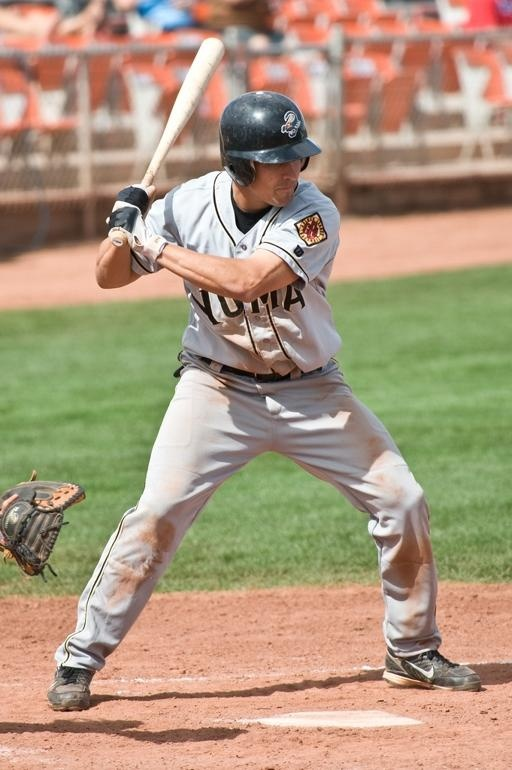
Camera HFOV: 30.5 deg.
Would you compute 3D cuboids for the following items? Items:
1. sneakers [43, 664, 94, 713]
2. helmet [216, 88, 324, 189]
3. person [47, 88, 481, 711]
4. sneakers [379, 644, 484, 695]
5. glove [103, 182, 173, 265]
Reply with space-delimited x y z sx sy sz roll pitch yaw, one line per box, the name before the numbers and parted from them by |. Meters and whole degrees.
sneakers | -0.513 0.839 2.583 0.072 0.071 0.172 11 -8 -9
helmet | 0.042 -0.664 2.565 0.259 0.228 0.327 -17 24 -39
person | 0.000 0.032 2.633 1.186 1.723 0.484 -2 -3 -12
sneakers | 0.508 0.844 2.790 0.314 0.115 0.107 -1 -5 20
glove | -0.323 -0.446 2.595 0.106 0.171 0.254 37 15 -28
